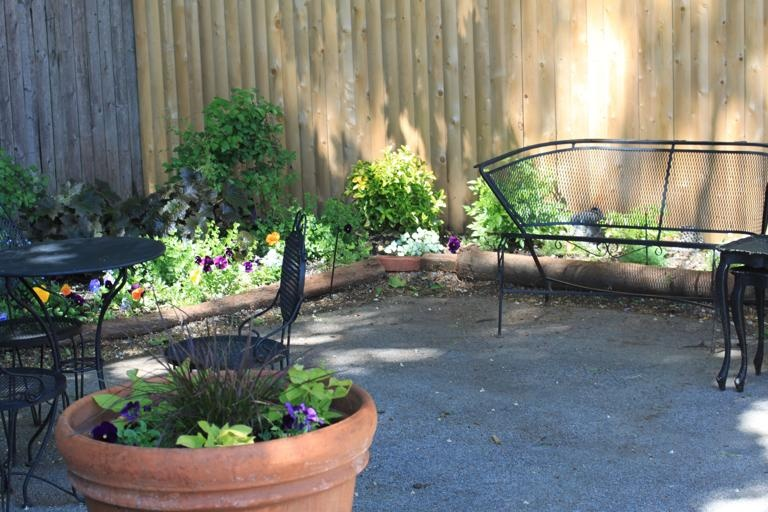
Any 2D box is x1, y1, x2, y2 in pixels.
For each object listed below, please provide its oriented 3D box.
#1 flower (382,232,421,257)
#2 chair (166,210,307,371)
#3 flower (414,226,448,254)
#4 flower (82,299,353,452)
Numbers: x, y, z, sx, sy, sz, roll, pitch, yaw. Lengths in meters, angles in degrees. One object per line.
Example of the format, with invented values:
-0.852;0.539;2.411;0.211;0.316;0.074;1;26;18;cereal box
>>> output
0.198;-0.093;7.605;0.234;0.270;0.095;14;-12;10;flower
-0.815;0.339;4.429;0.727;1.284;0.724;0;5;-21;chair
0.444;-0.156;7.607;0.320;0.246;0.215;-2;9;3;flower
-0.810;0.652;3.819;1.237;0.549;1.315;0;-1;24;flower
